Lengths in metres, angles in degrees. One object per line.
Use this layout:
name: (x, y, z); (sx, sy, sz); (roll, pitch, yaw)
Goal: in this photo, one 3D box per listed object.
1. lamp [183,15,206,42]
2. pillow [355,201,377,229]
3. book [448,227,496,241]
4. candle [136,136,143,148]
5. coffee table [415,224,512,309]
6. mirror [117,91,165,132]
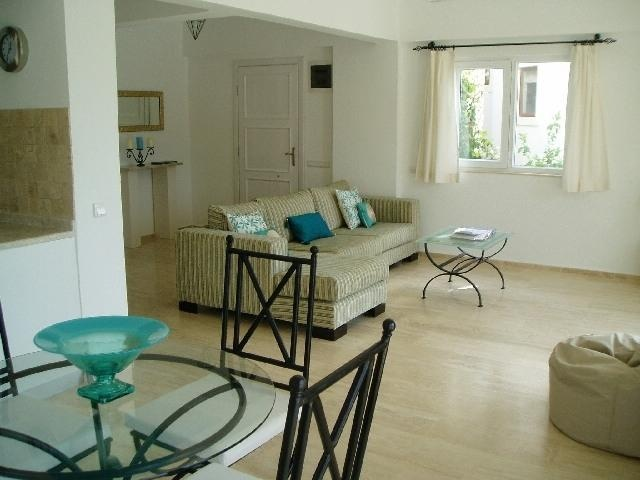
lamp: (-2.006, -3.379, 8.084); (0.359, 0.301, 0.122); (8, 16, 30)
pillow: (0.587, -0.325, 6.412); (0.081, 0.311, 0.328); (-16, -4, 28)
book: (1.644, -0.072, 5.469); (0.406, 0.068, 0.506); (8, 16, 29)
candle: (-2.725, -1.467, 7.575); (0.116, 0.193, 0.350); (-5, 15, -19)
coffee table: (1.635, 0.275, 5.609); (0.740, 0.744, 0.952); (9, 16, 38)
mirror: (-2.706, -1.970, 7.650); (0.736, 0.568, 0.031); (7, 8, 22)
